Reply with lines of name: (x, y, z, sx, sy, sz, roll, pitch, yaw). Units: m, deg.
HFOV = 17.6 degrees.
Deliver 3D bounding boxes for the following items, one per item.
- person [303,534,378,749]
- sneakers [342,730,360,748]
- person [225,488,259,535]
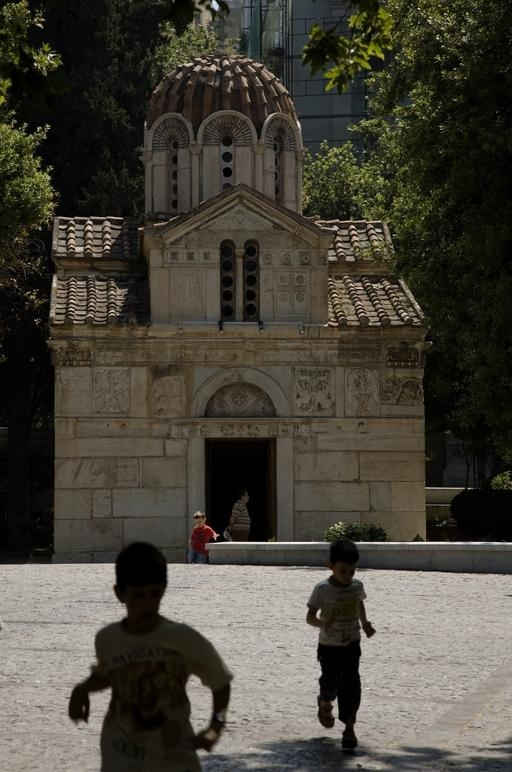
person: (0.720, 2.040, 13.088, 0.523, 1.638, 0.554, 0, -5, 4)
sneakers: (0.773, 2.760, 12.827, 0.065, 0.149, 0.200, 1, -5, 14)
person: (-0.225, 1.976, 25.180, 0.375, 0.763, 0.912, 0, -6, -1)
